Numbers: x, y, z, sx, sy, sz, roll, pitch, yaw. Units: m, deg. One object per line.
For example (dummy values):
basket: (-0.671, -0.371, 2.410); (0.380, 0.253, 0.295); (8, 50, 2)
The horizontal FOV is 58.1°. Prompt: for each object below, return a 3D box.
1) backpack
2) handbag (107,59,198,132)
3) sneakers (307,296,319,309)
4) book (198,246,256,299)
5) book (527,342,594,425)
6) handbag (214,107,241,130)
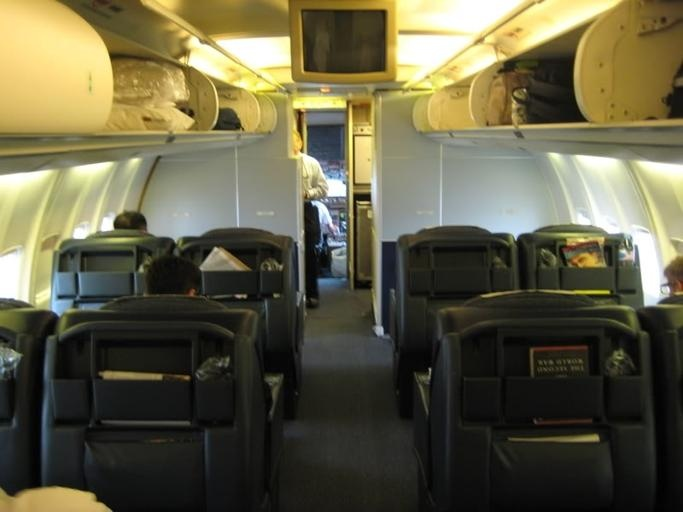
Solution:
backpack: (1.546, -1.237, 4.622); (0.474, 0.465, 0.201); (1, 11, 4)
handbag: (-1.453, -1.207, 4.721); (0.674, 0.681, 0.209); (0, -12, -34)
sneakers: (-0.424, 0.683, 9.053); (0.165, 0.156, 0.153); (1, 7, 4)
book: (-0.916, 0.129, 4.944); (0.422, 0.256, 0.406); (0, 2, -6)
book: (1.130, 0.624, 3.077); (0.396, 0.352, 0.093); (0, -5, 3)
handbag: (-1.187, -1.417, 6.364); (0.247, 0.242, 0.631); (-2, 11, -9)
